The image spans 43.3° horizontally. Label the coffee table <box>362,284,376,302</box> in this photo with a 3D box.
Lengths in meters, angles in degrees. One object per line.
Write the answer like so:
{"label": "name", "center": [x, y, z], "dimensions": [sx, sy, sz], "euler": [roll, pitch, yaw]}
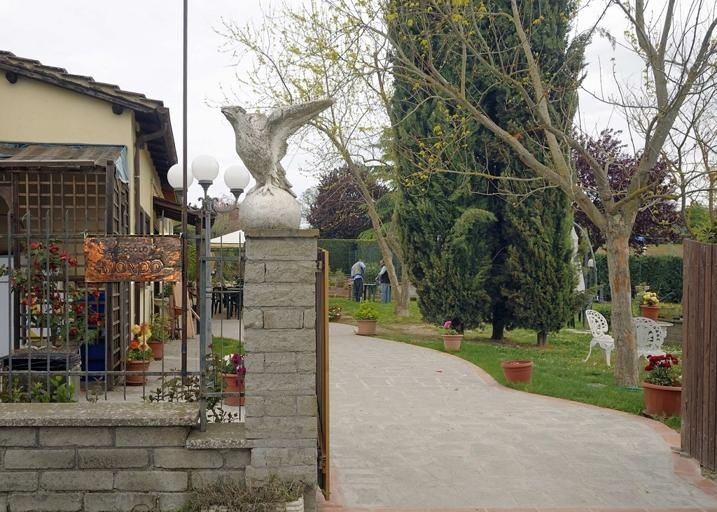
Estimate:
{"label": "coffee table", "center": [0.393, 1.463, 34.956], "dimensions": [0.528, 0.573, 0.546], "euler": [0, -7, -3]}

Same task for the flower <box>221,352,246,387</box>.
{"label": "flower", "center": [-2.065, 1.903, 15.001], "dimensions": [0.493, 0.501, 0.546], "euler": [-1, 4, 18]}

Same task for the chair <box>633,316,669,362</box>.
{"label": "chair", "center": [5.954, 1.863, 18.937], "dimensions": [0.817, 0.862, 0.640], "euler": [-1, -33, 16]}

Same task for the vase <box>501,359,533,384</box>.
{"label": "vase", "center": [3.102, 2.278, 17.604], "dimensions": [0.446, 0.313, 0.458], "euler": [-4, 7, -12]}

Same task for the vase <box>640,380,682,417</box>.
{"label": "vase", "center": [5.341, 2.432, 15.591], "dimensions": [0.682, 0.536, 0.710], "euler": [-2, 8, 11]}

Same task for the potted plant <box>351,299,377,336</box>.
{"label": "potted plant", "center": [0.289, 1.816, 24.516], "dimensions": [0.700, 0.844, 0.676], "euler": [2, -10, -12]}

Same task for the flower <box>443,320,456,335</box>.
{"label": "flower", "center": [2.186, 1.797, 22.120], "dimensions": [0.357, 0.418, 0.307], "euler": [1, -3, 22]}

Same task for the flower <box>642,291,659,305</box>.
{"label": "flower", "center": [7.822, 1.173, 24.016], "dimensions": [0.386, 0.398, 0.532], "euler": [-5, 5, 5]}

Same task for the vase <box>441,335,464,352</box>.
{"label": "vase", "center": [2.233, 2.117, 21.461], "dimensions": [0.369, 0.295, 0.387], "euler": [1, -7, -3]}

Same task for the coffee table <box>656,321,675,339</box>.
{"label": "coffee table", "center": [7.154, 1.761, 20.986], "dimensions": [0.385, 0.187, 0.545], "euler": [1, -2, 18]}

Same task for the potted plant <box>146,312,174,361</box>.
{"label": "potted plant", "center": [-4.383, 1.766, 19.597], "dimensions": [0.335, 0.716, 0.436], "euler": [3, -22, -28]}

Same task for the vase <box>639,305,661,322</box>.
{"label": "vase", "center": [7.673, 1.506, 23.624], "dimensions": [0.589, 0.447, 0.606], "euler": [1, 1, -15]}

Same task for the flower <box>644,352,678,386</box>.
{"label": "flower", "center": [5.297, 1.997, 15.721], "dimensions": [0.619, 0.478, 0.568], "euler": [-1, -9, 6]}
